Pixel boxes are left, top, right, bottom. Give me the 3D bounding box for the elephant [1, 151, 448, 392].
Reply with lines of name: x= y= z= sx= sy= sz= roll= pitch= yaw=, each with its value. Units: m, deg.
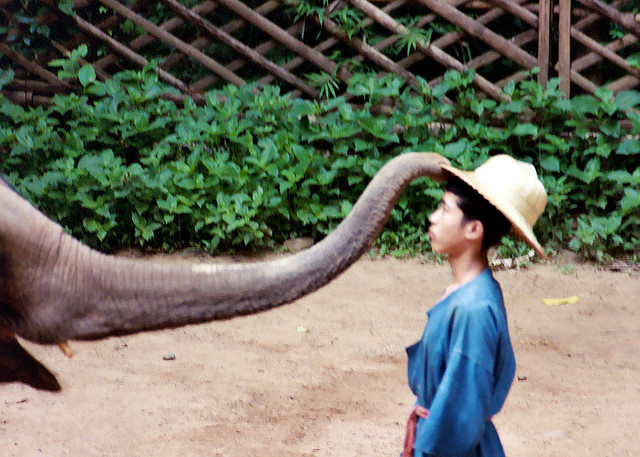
elephant: x=-0.898 y=0.319 z=7.773 sx=2.026 sy=1.277 sz=1.607 roll=-11 pitch=-3 yaw=0
